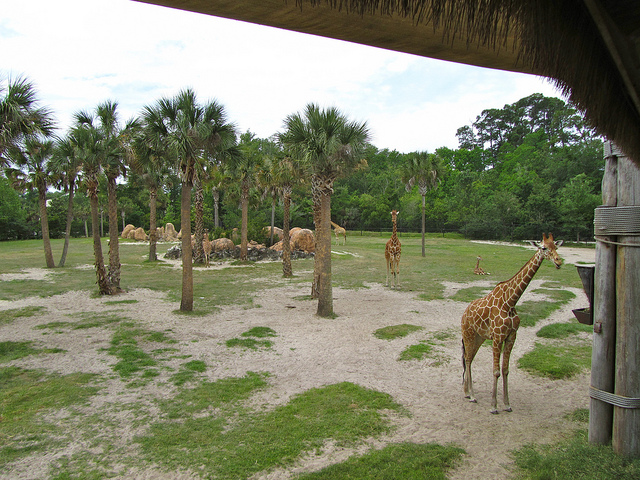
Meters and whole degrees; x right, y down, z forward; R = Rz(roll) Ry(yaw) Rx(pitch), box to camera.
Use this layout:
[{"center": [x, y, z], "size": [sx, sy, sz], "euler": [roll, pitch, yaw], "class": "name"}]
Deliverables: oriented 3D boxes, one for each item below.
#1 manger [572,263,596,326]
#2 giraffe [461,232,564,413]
[{"center": [4.855, 1.013, 9.186], "size": [0.350, 1.223, 0.690], "euler": [4, 10, 28], "class": "manger"}, {"center": [3.818, 1.582, 10.353], "size": [1.598, 3.637, 1.222], "euler": [0, 9, 3], "class": "giraffe"}]
